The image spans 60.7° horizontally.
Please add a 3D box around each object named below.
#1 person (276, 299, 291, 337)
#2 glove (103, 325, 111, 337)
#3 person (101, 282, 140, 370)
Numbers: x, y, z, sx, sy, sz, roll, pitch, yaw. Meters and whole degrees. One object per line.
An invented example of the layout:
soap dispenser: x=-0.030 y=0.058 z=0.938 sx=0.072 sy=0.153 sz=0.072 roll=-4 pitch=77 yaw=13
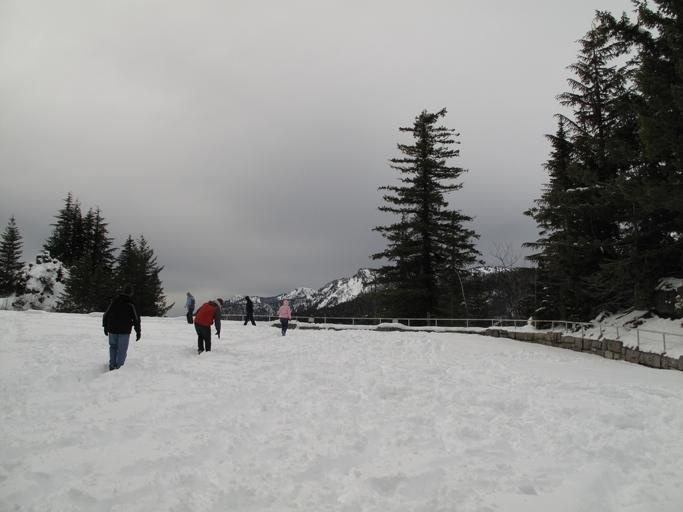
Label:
person: x=-2.601 y=2.758 z=26.290 sx=0.465 sy=1.593 sz=1.402 roll=2 pitch=-6 yaw=-5
glove: x=-7.080 y=2.222 z=17.602 sx=0.147 sy=0.319 sz=0.196 roll=6 pitch=-8 yaw=-37
person: x=-6.844 y=2.318 z=18.120 sx=1.052 sy=2.313 sz=1.156 roll=4 pitch=-7 yaw=-21
